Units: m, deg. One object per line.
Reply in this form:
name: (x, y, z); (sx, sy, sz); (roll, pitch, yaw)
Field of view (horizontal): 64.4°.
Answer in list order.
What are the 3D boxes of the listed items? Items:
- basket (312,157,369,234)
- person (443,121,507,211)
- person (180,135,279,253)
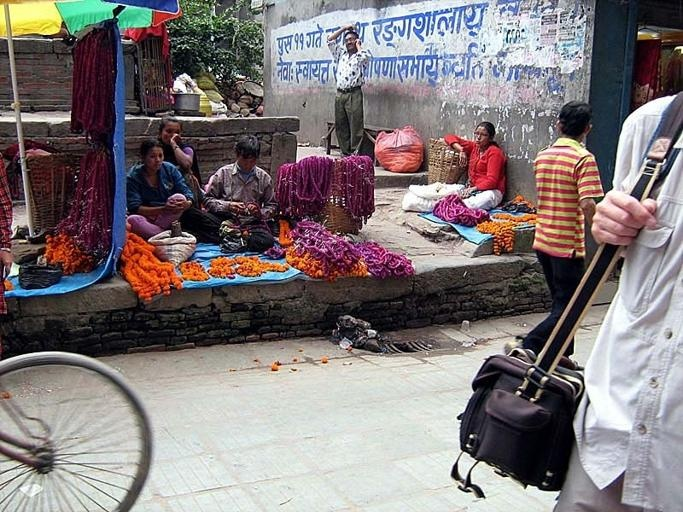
basket: (-0.259, -0.825, 7.009); (0.925, 1.088, 0.859); (2, 10, -4)
person: (1.858, -1.280, 7.684); (0.810, 1.208, 0.807); (6, 9, 33)
person: (-1.256, -0.723, 6.164); (1.021, 1.284, 0.715); (0, 7, -6)
